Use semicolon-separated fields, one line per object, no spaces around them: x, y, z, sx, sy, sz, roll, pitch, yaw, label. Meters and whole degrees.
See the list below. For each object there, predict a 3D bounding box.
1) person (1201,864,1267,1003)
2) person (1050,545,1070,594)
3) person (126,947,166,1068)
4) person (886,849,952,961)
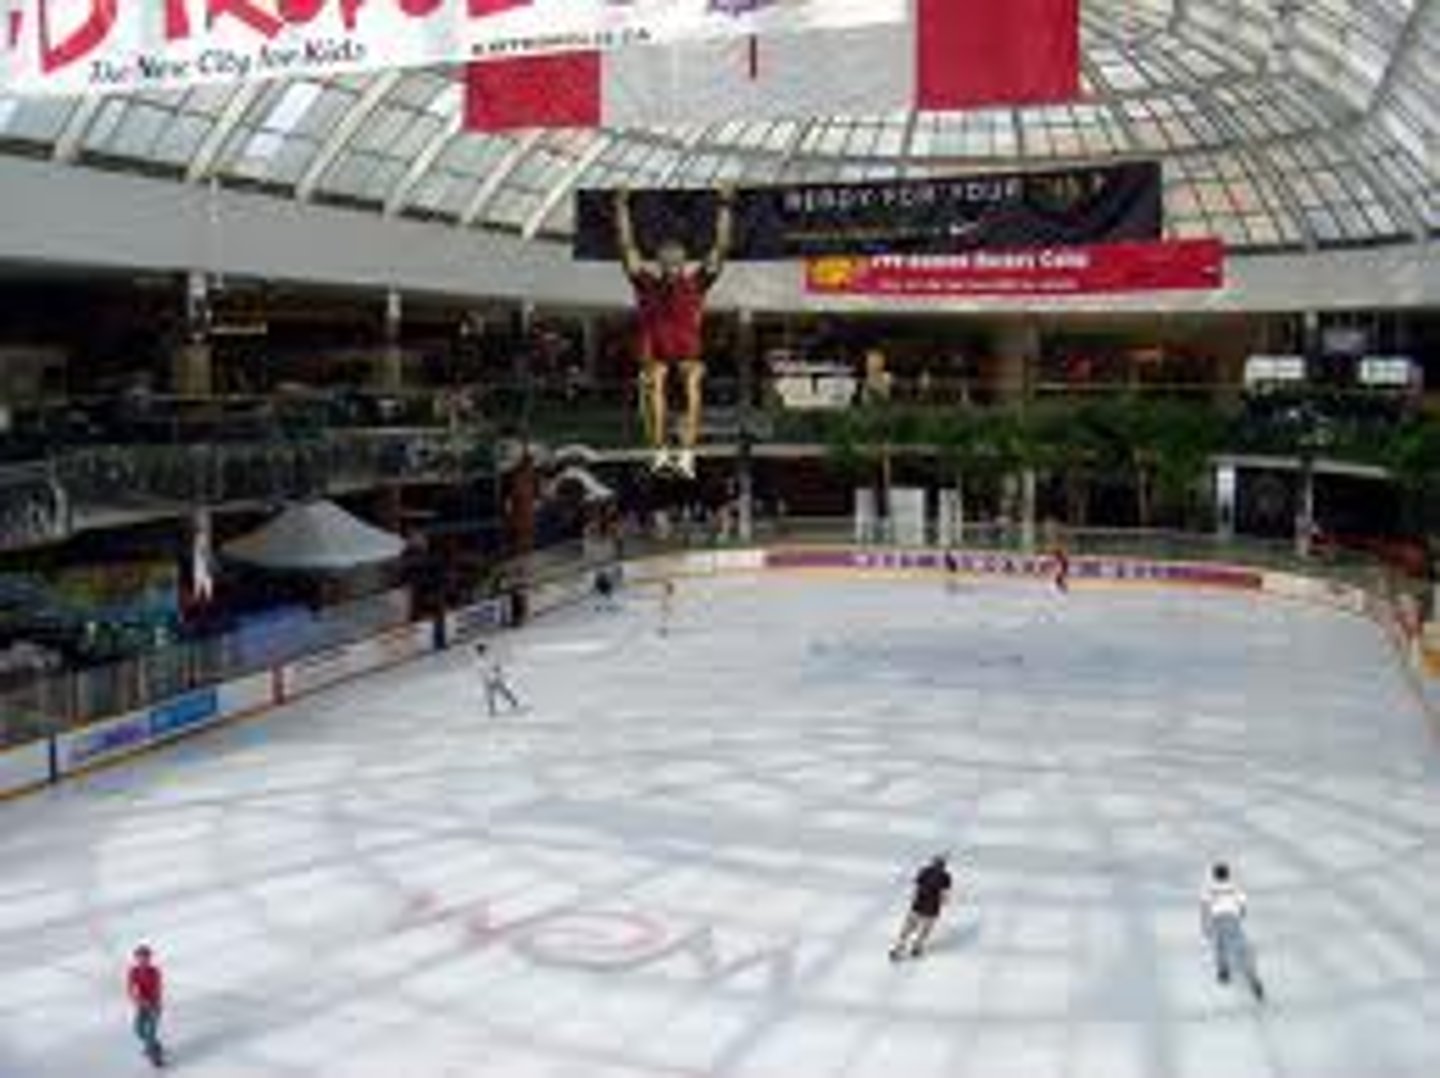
6.599;4.896;15.203;0.772;1.635;1.555;3;9;25;person
12.847;1.001;44.619;0.663;1.525;3.534;2;8;16;person
-6.747;5.255;13.851;0.317;1.358;1.355;-4;9;-27;person
2.726;4.813;16.142;0.755;1.529;1.350;1;8;12;person
